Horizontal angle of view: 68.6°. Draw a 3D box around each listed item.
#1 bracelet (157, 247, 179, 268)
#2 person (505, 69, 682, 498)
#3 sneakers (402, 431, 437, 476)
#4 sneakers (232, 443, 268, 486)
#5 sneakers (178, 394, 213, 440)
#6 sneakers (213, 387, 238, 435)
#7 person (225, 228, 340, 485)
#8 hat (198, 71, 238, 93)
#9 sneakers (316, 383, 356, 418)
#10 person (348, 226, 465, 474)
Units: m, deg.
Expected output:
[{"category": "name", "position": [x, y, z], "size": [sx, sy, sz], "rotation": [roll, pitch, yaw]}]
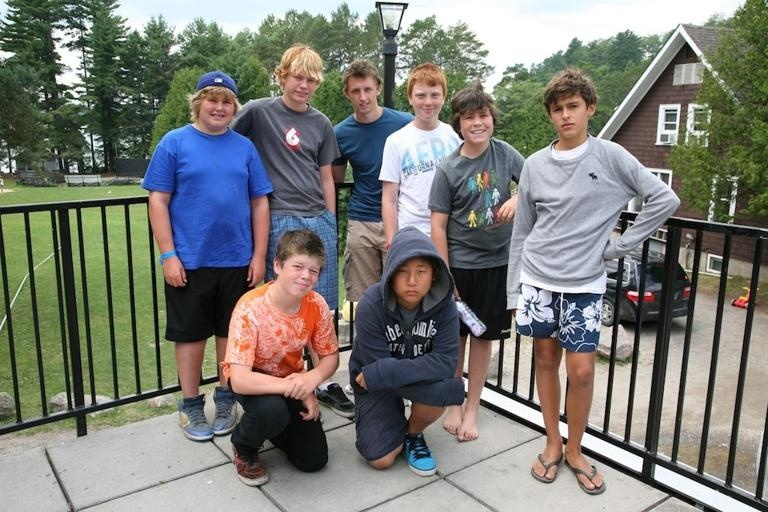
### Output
[{"category": "bracelet", "position": [-1.560, -0.001, 4.030], "size": [0.183, 0.107, 0.078], "rotation": [6, 12, 38]}, {"category": "person", "position": [1.279, 0.157, 3.661], "size": [0.924, 2.724, 0.520], "rotation": [1, 10, 11]}, {"category": "sneakers", "position": [0.241, 1.360, 3.822], "size": [0.123, 0.145, 0.349], "rotation": [-6, -1, -17]}, {"category": "sneakers", "position": [-0.905, 1.388, 3.781], "size": [0.168, 0.157, 0.436], "rotation": [7, 4, -30]}, {"category": "sneakers", "position": [-1.415, 1.175, 4.189], "size": [0.185, 0.265, 0.549], "rotation": [-3, 8, -34]}, {"category": "sneakers", "position": [-1.200, 1.136, 4.221], "size": [0.173, 0.245, 0.466], "rotation": [-1, 17, -8]}, {"category": "person", "position": [-0.667, 0.649, 3.719], "size": [0.738, 1.607, 0.409], "rotation": [-3, 10, -9]}, {"category": "hat", "position": [-1.211, -1.268, 4.071], "size": [0.221, 0.136, 0.214], "rotation": [-1, 16, -22]}, {"category": "sneakers", "position": [-0.379, 1.147, 4.560], "size": [0.174, 0.194, 0.480], "rotation": [-10, 12, -40]}, {"category": "person", "position": [0.153, 0.638, 3.794], "size": [0.767, 1.649, 0.376], "rotation": [-2, 10, -4]}]
